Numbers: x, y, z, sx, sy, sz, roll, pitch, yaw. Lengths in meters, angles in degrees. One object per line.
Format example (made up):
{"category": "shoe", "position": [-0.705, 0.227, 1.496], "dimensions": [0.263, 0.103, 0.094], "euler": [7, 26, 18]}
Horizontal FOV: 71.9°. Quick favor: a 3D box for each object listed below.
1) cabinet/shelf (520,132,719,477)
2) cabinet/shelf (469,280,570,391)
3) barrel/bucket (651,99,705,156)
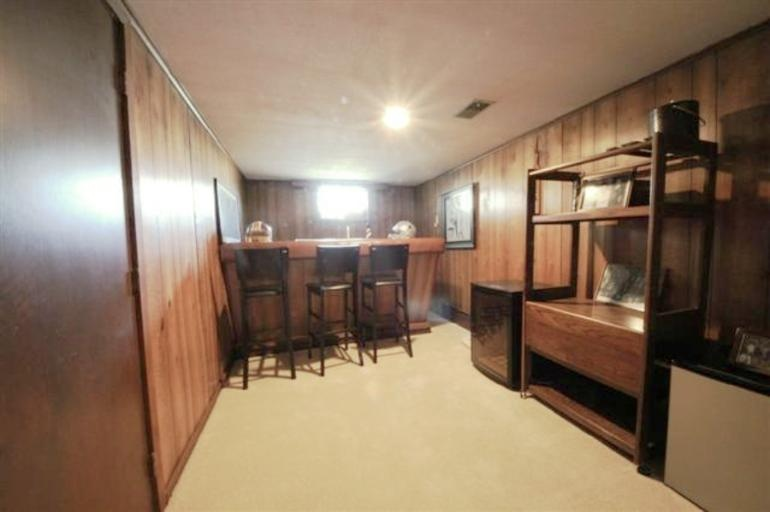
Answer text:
{"category": "cabinet/shelf", "position": [1.604, 0.249, 3.819], "dimensions": [1.173, 2.179, 0.809], "euler": [8, 13, 41]}
{"category": "cabinet/shelf", "position": [1.145, 0.632, 4.764], "dimensions": [0.858, 1.137, 0.807], "euler": [0, 3, -20]}
{"category": "barrel/bucket", "position": [1.884, -0.825, 3.488], "dimensions": [0.347, 0.354, 0.364], "euler": [-1, 2, 0]}
